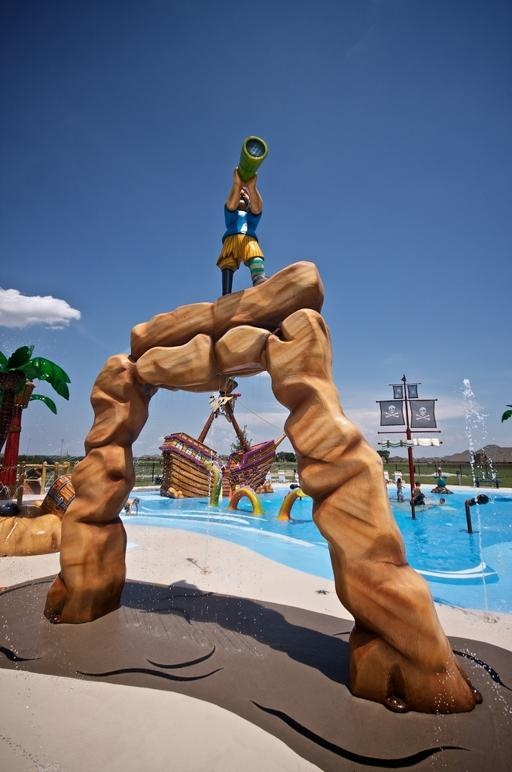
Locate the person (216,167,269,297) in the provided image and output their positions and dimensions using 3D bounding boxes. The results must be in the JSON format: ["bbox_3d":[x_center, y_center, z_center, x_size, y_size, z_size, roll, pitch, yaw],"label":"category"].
[{"bbox_3d":[-0.119,-1.620,5.570,0.420,1.191,0.739,-3,6,-26],"label":"person"}]
